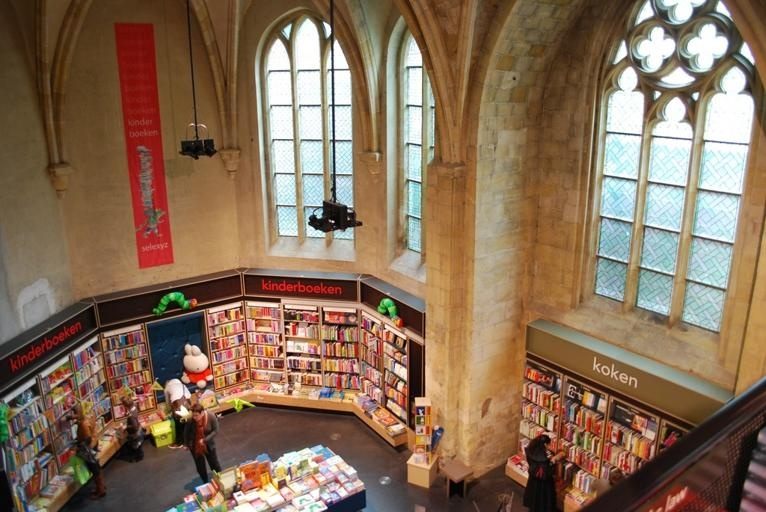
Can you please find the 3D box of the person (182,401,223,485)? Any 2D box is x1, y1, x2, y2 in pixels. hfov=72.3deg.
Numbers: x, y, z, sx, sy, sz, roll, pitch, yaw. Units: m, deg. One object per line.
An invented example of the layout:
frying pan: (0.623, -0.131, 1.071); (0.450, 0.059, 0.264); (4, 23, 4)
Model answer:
person: (-3.418, 3.605, 9.950); (0.555, 1.812, 0.558); (1, 19, -9)

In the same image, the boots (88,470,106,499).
boots: (-5.470, 4.246, 10.019); (0.237, 0.506, 0.558); (-10, 18, -28)

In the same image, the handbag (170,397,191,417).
handbag: (-4.217, 3.163, 10.946); (0.410, 0.180, 0.433); (-26, 42, -20)

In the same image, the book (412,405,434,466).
book: (0.793, 3.367, 10.172); (0.364, 1.202, 0.516); (0, 16, 4)
